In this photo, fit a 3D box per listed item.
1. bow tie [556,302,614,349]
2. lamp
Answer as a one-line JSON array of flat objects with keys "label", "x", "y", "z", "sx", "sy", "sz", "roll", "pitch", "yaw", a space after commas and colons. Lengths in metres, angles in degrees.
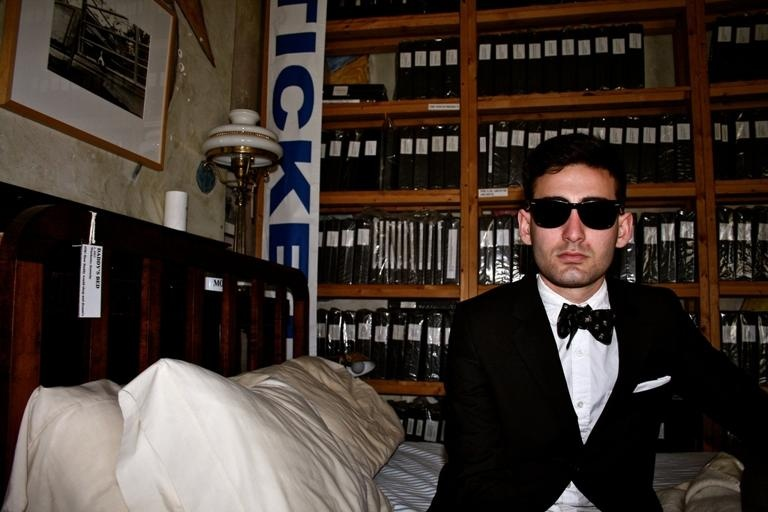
[{"label": "bow tie", "x": 0.741, "y": 0.242, "z": 2.265, "sx": 0.226, "sy": 0.087, "sz": 0.186, "roll": -1, "pitch": 33, "yaw": 19}, {"label": "lamp", "x": -0.712, "y": -0.289, "z": 3.017, "sx": 0.355, "sy": 0.851, "sz": 0.373, "roll": 1, "pitch": 17, "yaw": -21}]
